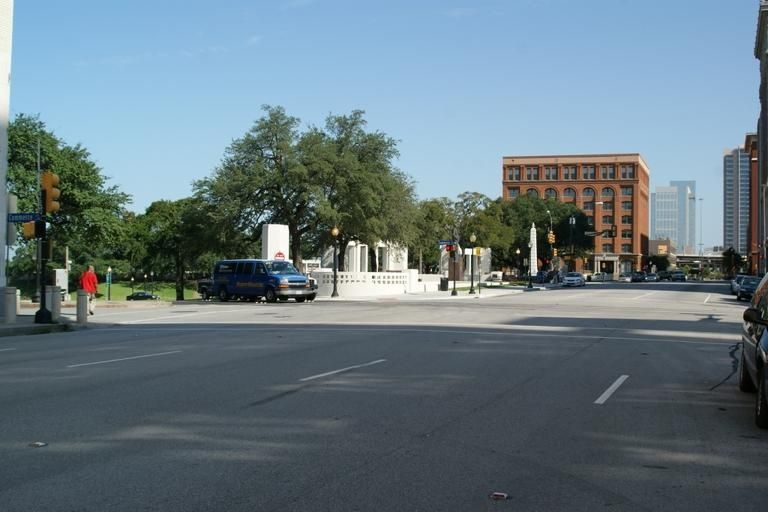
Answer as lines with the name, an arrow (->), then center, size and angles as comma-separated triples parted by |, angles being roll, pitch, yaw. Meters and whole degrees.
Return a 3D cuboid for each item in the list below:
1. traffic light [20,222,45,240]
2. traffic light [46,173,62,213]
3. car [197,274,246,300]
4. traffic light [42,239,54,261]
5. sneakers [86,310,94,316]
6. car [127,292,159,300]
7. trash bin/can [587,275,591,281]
traffic light -> -10.919, -0.858, 26.312 | 0.493, 0.538, 1.742 | -3, 6, -28
traffic light -> -10.247, -1.966, 26.004 | 0.433, 1.280, 2.065 | -2, 5, -21
car -> -8.985, 1.795, 47.105 | 1.982, 1.768, 2.989 | 1, 2, -27
traffic light -> -10.308, -0.181, 25.774 | 0.238, 0.637, 0.644 | -2, 5, -18
sneakers -> -11.113, 2.195, 31.874 | 0.291, 0.285, 0.101 | -1, -4, 24
car -> -26.327, 4.416, 91.886 | 2.862, 0.990, 1.344 | -3, -4, 6
trash bin/can -> 29.381, 3.161, 119.552 | 0.319, 0.905, 0.671 | 9, -7, -3
